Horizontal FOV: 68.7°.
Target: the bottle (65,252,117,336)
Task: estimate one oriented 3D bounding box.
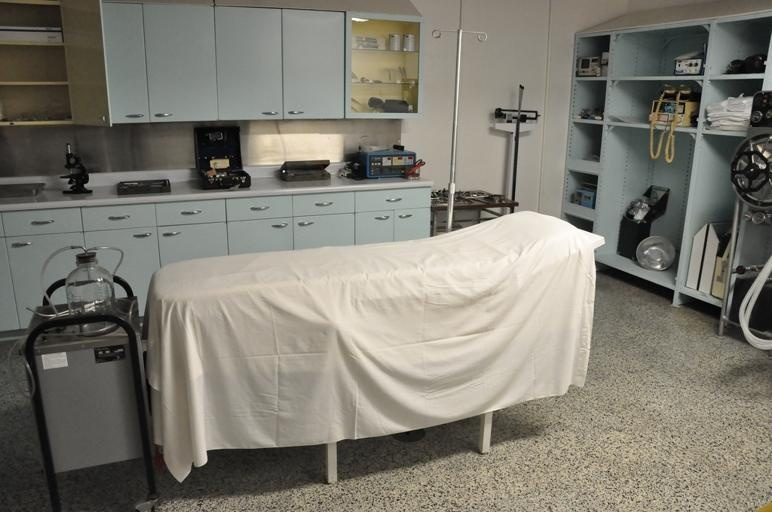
[{"bbox_3d":[-1.743,0.145,3.304,0.258,0.361,0.407,-10,17,-26],"label":"bottle"}]

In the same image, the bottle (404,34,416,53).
[{"bbox_3d":[0.237,-2.127,5.662,0.099,0.194,0.103,1,20,0],"label":"bottle"}]

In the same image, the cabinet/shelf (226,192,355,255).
[{"bbox_3d":[-0.898,-0.245,5.532,1.202,0.618,0.442,-4,-8,-7],"label":"cabinet/shelf"}]

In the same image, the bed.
[{"bbox_3d":[-0.054,0.449,3.753,2.835,1.216,1.019,-7,17,-13],"label":"bed"}]

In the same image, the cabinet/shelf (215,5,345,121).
[{"bbox_3d":[-1.035,-1.827,5.276,0.970,0.845,0.376,-3,13,-17],"label":"cabinet/shelf"}]

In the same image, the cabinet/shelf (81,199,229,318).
[{"bbox_3d":[-2.041,0.116,5.286,1.318,1.284,0.514,-3,8,-6],"label":"cabinet/shelf"}]

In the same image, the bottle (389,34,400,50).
[{"bbox_3d":[0.086,-2.114,5.639,0.126,0.148,0.033,-11,18,-28],"label":"bottle"}]

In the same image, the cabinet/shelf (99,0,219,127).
[{"bbox_3d":[-2.015,-1.718,4.944,1.053,1.108,0.651,-3,13,-15],"label":"cabinet/shelf"}]

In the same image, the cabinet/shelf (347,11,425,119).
[{"bbox_3d":[-0.120,-1.894,5.800,0.989,0.975,0.330,-13,22,-37],"label":"cabinet/shelf"}]

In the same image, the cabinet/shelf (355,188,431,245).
[{"bbox_3d":[0.055,-0.444,5.717,0.895,0.636,0.514,-4,12,-19],"label":"cabinet/shelf"}]
